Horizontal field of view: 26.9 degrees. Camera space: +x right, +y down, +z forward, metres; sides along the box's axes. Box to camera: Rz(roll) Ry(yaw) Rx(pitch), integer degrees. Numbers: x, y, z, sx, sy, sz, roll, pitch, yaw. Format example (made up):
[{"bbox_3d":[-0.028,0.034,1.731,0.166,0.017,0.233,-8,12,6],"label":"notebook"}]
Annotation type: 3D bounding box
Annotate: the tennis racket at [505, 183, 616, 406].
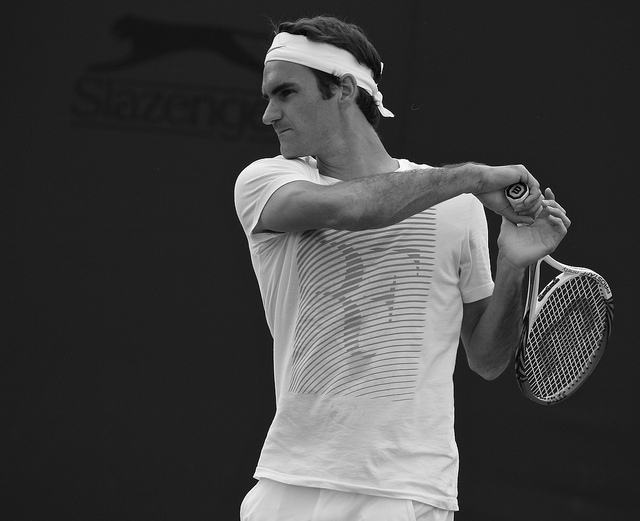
[{"bbox_3d":[0.947,0.147,5.336,0.083,0.532,0.858,15,-26,37],"label":"tennis racket"}]
